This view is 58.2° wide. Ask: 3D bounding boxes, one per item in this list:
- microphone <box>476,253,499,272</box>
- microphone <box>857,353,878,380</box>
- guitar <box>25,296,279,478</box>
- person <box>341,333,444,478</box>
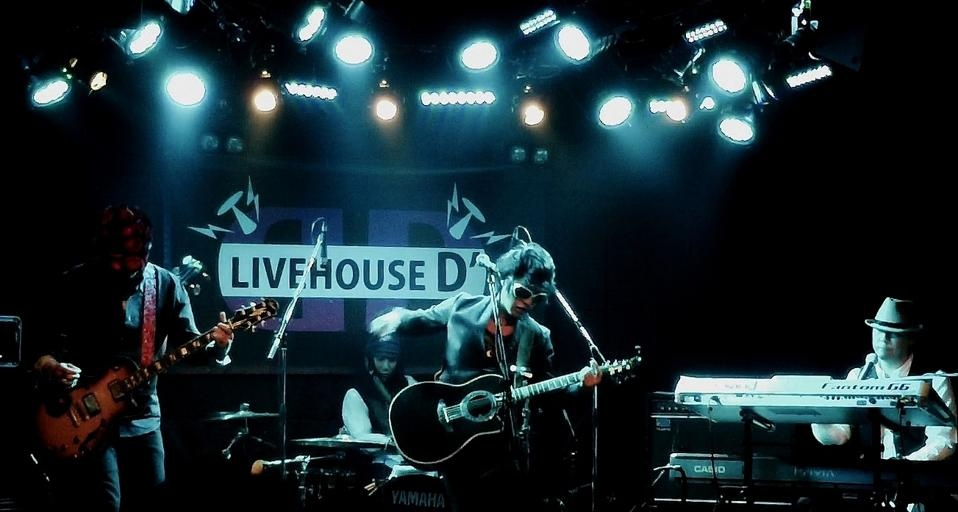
[{"bbox_3d":[0.045,0.098,8.794,0.248,0.169,0.054,28,-52,-8],"label":"microphone"},{"bbox_3d":[4.354,1.238,9.601,0.092,0.272,0.080,16,24,5],"label":"microphone"},{"bbox_3d":[-3.576,1.427,9.128,2.348,0.769,0.305,-28,-12,-17],"label":"guitar"},{"bbox_3d":[-1.177,1.678,9.721,0.954,1.574,0.394,1,-14,-12],"label":"person"}]
